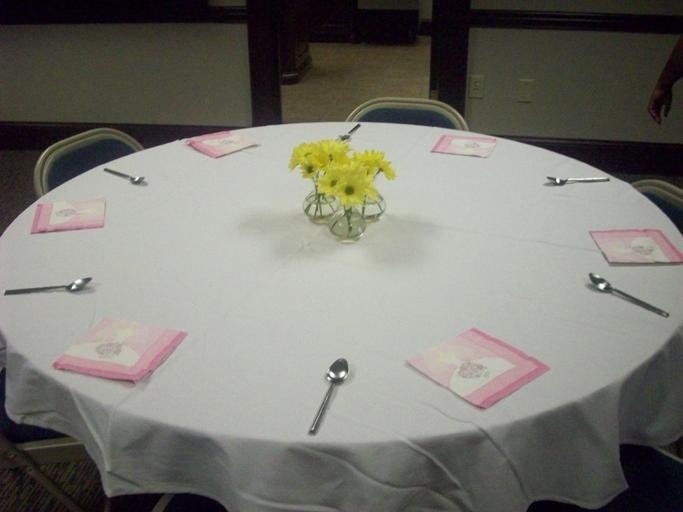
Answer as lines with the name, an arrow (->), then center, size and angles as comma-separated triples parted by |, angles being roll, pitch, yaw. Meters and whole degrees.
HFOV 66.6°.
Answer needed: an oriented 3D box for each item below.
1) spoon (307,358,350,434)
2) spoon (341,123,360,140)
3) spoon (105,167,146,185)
spoon -> -0.023, 0.276, 1.088 | 0.040, 0.029, 0.189 | -6, 38, 26
spoon -> 0.037, -0.514, 2.179 | 0.047, 0.027, 0.146 | 29, 34, 8
spoon -> -0.794, -0.294, 1.911 | 0.223, 0.033, 0.067 | 20, 38, 34
